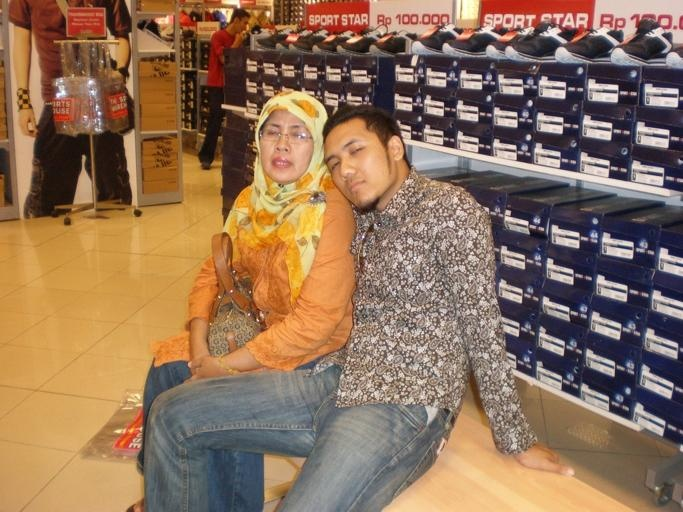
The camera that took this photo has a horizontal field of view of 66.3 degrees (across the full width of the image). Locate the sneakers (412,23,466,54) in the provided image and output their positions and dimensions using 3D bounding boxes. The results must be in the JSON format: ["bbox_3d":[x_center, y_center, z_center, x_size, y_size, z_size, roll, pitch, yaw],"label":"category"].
[{"bbox_3d":[0.443,-1.029,2.534,0.311,0.120,0.112,-3,38,24],"label":"sneakers"}]

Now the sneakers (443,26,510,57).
[{"bbox_3d":[0.588,-0.994,2.392,0.330,0.118,0.117,-2,28,2],"label":"sneakers"}]

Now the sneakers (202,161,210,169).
[{"bbox_3d":[-2.211,-1.495,8.531,0.135,0.096,0.080,0,0,9],"label":"sneakers"}]

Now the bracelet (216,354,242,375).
[{"bbox_3d":[-0.363,0.357,1.691,0.075,0.053,0.032,13,3,7],"label":"bracelet"}]

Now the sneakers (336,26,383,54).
[{"bbox_3d":[0.053,-1.231,3.034,0.339,0.132,0.122,2,44,24],"label":"sneakers"}]

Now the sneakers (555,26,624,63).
[{"bbox_3d":[0.927,-0.800,1.987,0.313,0.119,0.112,-16,33,-13],"label":"sneakers"}]

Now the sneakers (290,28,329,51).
[{"bbox_3d":[-0.211,-1.420,3.425,0.144,0.150,0.382,-14,26,-32],"label":"sneakers"}]

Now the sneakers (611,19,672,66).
[{"bbox_3d":[1.049,-0.760,1.849,0.305,0.140,0.117,-25,33,-30],"label":"sneakers"}]

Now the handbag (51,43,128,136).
[{"bbox_3d":[-2.774,-1.869,5.740,0.749,1.004,0.562,-8,19,-32],"label":"handbag"}]

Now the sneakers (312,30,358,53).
[{"bbox_3d":[-0.024,-1.291,3.121,0.117,0.123,0.320,-20,29,-35],"label":"sneakers"}]

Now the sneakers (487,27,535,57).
[{"bbox_3d":[0.771,-0.939,2.286,0.288,0.110,0.096,-31,47,-28],"label":"sneakers"}]
